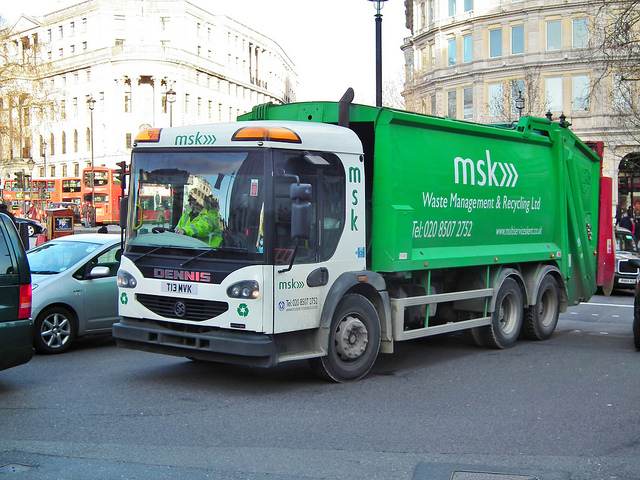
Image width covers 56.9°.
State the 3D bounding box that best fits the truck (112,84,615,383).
[{"bbox_3d":[1.706,-0.076,11.078,9.176,4.163,3.495,-2,2,-39],"label":"truck"}]

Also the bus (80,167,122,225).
[{"bbox_3d":[-17.736,-3.558,47.886,2.596,6.597,2.384,-2,5,-29],"label":"bus"}]
